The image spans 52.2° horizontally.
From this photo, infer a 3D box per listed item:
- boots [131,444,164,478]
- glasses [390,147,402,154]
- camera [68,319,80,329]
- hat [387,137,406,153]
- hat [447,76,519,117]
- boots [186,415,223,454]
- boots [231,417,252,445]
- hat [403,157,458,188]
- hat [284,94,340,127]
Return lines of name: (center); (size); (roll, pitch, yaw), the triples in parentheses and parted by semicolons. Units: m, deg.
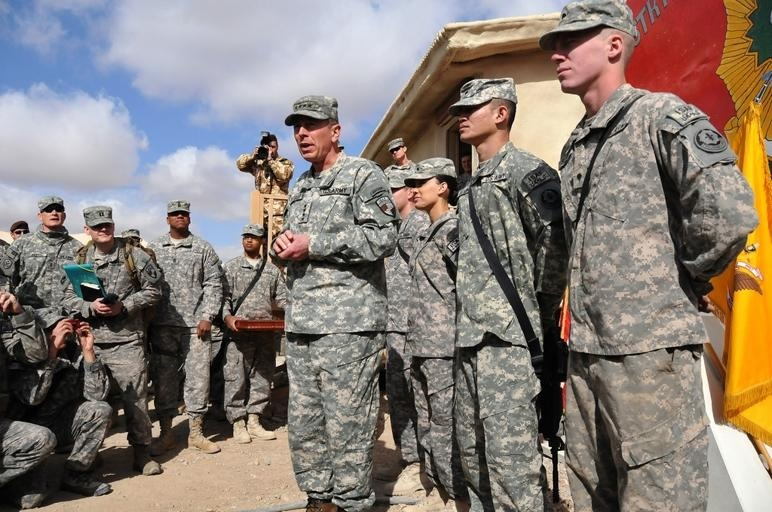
boots: (-2.490, 2.117, 8.250); (0.240, 0.281, 0.359); (-5, 4, -35)
glasses: (0.140, -1.409, 10.444); (0.115, 0.034, 0.144); (-22, -1, 7)
camera: (-3.079, 0.676, 7.813); (0.106, 0.103, 0.101); (-3, 3, -6)
hat: (0.178, -1.502, 10.599); (0.285, 0.124, 0.367); (-12, 7, 35)
hat: (0.744, -1.301, 6.018); (0.482, 0.211, 0.639); (1, -5, 9)
boots: (-2.076, 2.038, 9.016); (0.460, 0.405, 0.188); (1, 2, 32)
boots: (-1.712, 2.057, 9.391); (0.214, 0.252, 0.396); (-3, 3, -11)
hat: (0.438, -0.798, 7.481); (0.433, 0.177, 0.283); (-1, -7, -5)
hat: (-0.667, -1.265, 6.789); (0.394, 0.228, 0.373); (-1, 3, 22)
